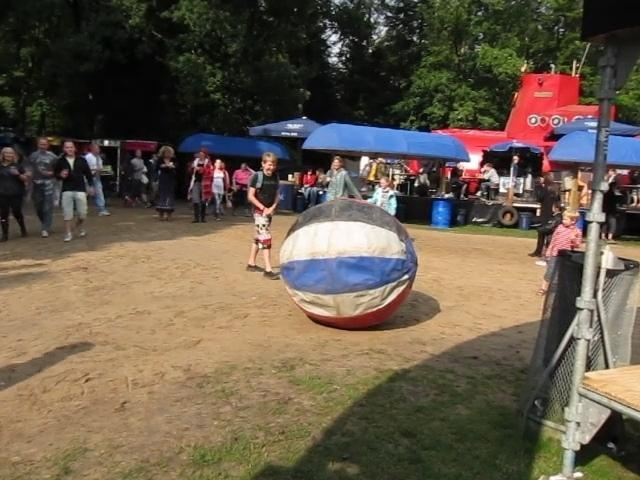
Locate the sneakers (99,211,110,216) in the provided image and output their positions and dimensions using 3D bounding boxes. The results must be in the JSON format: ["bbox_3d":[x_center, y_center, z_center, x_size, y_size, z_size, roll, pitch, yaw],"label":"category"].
[{"bbox_3d":[-7.926,-0.936,18.713,0.568,0.183,0.203,1,9,18],"label":"sneakers"}]

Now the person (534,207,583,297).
[{"bbox_3d":[4.648,0.264,9.937,0.601,1.588,0.557,14,1,17],"label":"person"}]
